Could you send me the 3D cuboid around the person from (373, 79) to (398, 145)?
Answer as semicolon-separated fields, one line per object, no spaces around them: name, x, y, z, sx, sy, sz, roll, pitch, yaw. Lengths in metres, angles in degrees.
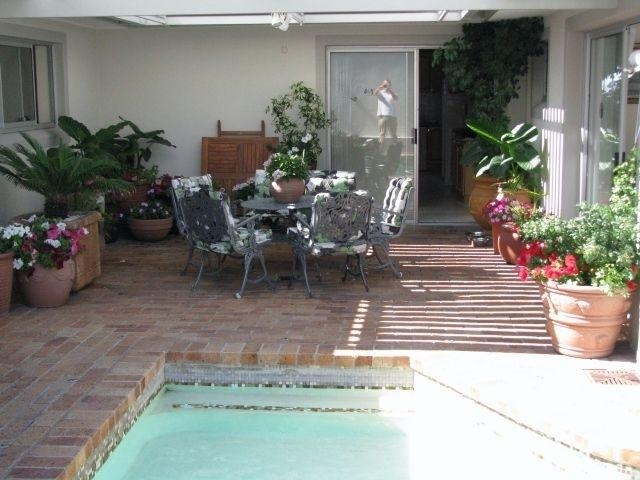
person;1.225;-2.355;8.721;0.396;1.099;0.150;-4;14;-12

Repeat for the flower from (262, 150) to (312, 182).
flower;-0.421;-0.914;5.958;0.417;0.268;0.422;2;8;5
